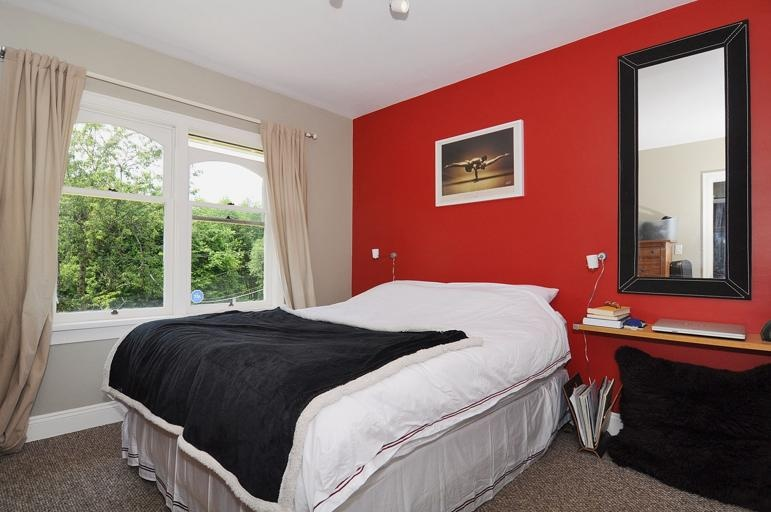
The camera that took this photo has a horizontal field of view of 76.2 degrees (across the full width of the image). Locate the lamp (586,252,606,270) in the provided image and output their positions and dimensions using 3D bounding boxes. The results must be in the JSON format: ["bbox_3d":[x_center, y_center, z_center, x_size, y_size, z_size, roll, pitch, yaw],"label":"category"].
[{"bbox_3d":[1.857,0.046,4.334,0.169,0.171,0.107,3,-4,-17],"label":"lamp"}]

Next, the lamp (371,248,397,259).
[{"bbox_3d":[-0.021,-0.017,5.687,0.055,0.136,0.406,-1,0,-44],"label":"lamp"}]
